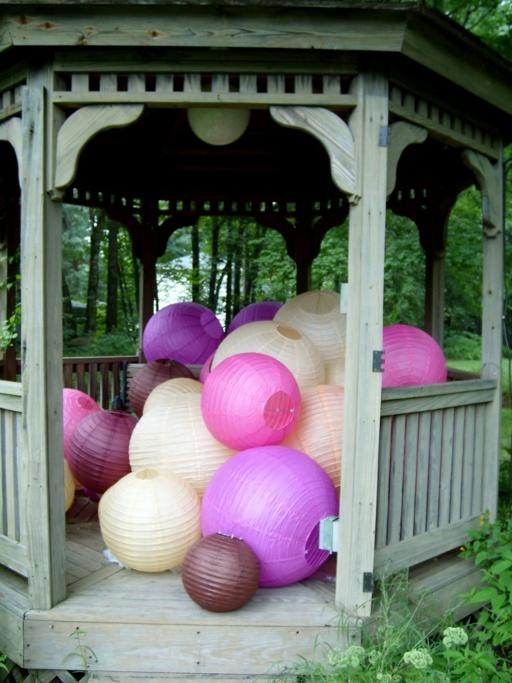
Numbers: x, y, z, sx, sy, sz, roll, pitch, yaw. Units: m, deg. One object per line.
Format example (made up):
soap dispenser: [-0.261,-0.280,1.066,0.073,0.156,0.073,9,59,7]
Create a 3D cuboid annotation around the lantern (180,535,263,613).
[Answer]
lantern: [-0.176,1.104,4.106,0.350,0.367,0.364,24,-17,-23]
